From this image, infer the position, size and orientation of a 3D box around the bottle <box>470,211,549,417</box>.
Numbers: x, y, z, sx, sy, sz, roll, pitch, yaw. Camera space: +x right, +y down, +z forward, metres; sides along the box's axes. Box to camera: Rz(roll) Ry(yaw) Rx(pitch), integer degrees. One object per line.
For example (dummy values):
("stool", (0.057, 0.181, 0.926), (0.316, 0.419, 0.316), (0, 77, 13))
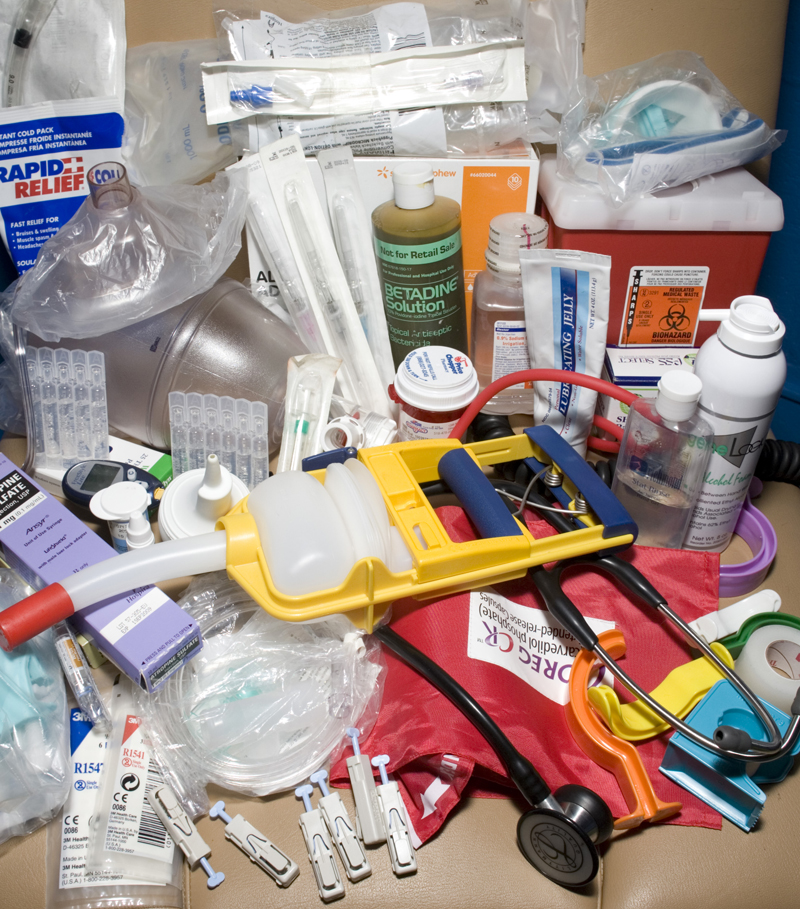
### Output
("bottle", (0.103, -0.147, 0.861), (0.084, 0.232, 0.082), (2, 49, -2))

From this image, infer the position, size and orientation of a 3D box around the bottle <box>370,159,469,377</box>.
("bottle", (0.019, -0.210, 0.884), (0.095, 0.246, 0.096), (-1, 48, 1))

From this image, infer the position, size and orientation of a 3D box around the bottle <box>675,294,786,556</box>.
("bottle", (0.267, -0.023, 0.711), (0.085, 0.246, 0.101), (11, 46, 8))

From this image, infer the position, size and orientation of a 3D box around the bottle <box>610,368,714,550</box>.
("bottle", (0.251, 0.011, 0.716), (0.079, 0.178, 0.058), (25, 42, 34))

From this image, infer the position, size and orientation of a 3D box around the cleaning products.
("cleaning products", (0.026, -0.208, 0.885), (0.098, 0.250, 0.095), (-7, 47, 1))

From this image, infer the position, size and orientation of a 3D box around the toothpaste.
("toothpaste", (0.167, -0.099, 0.784), (0.082, 0.220, 0.068), (0, 36, 9))
